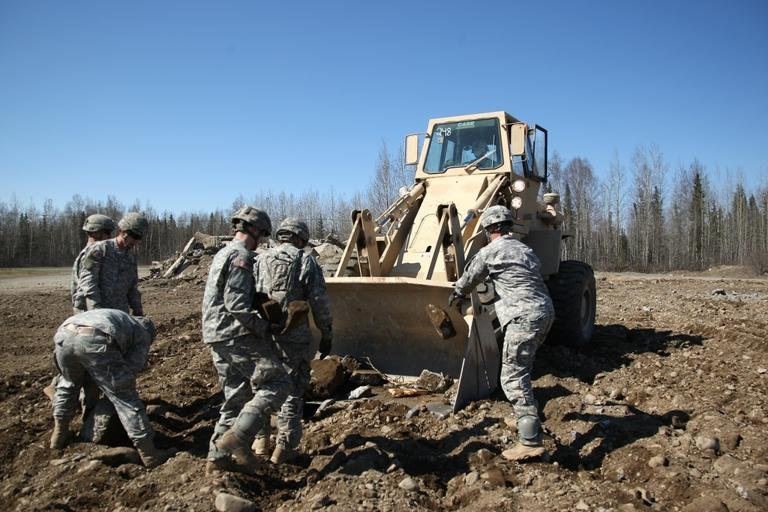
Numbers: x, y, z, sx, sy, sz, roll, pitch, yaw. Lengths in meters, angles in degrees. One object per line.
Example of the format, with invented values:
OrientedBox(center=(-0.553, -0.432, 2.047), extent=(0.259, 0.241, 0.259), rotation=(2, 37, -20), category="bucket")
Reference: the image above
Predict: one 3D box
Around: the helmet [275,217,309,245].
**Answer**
OrientedBox(center=(-0.966, -0.285, 5.608), extent=(0.247, 0.255, 0.327), rotation=(5, 5, 13), category="helmet")

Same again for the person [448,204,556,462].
OrientedBox(center=(1.368, 0.883, 5.452), extent=(0.940, 2.055, 1.154), rotation=(-6, 13, -8), category="person")

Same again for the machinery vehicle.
OrientedBox(center=(1.206, -0.297, 8.166), extent=(2.860, 3.526, 5.264), rotation=(2, 6, 37), category="machinery vehicle")

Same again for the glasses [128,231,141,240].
OrientedBox(center=(-3.016, -0.236, 6.274), extent=(0.091, 0.033, 0.119), rotation=(24, -30, -22), category="glasses")

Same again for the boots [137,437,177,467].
OrientedBox(center=(-2.336, 1.968, 5.320), extent=(0.365, 0.301, 0.300), rotation=(-10, 15, -26), category="boots")

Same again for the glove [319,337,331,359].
OrientedBox(center=(-0.620, 0.994, 5.619), extent=(0.167, 0.233, 0.068), rotation=(4, 7, 30), category="glove")

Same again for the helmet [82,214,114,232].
OrientedBox(center=(-3.687, -0.431, 6.727), extent=(0.347, 0.203, 0.261), rotation=(-6, 9, -44), category="helmet")

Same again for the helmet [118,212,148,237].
OrientedBox(center=(-3.053, -0.378, 6.313), extent=(0.308, 0.317, 0.364), rotation=(-10, 15, -26), category="helmet")

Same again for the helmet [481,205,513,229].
OrientedBox(center=(1.266, -0.437, 5.868), extent=(0.271, 0.272, 0.296), rotation=(0, -7, -37), category="helmet")

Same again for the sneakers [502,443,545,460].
OrientedBox(center=(1.373, 1.944, 5.126), extent=(0.428, 0.201, 0.162), rotation=(0, -14, 4), category="sneakers")

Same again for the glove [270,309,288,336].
OrientedBox(center=(-1.049, 0.667, 5.206), extent=(0.168, 0.241, 0.073), rotation=(7, -8, 22), category="glove")
